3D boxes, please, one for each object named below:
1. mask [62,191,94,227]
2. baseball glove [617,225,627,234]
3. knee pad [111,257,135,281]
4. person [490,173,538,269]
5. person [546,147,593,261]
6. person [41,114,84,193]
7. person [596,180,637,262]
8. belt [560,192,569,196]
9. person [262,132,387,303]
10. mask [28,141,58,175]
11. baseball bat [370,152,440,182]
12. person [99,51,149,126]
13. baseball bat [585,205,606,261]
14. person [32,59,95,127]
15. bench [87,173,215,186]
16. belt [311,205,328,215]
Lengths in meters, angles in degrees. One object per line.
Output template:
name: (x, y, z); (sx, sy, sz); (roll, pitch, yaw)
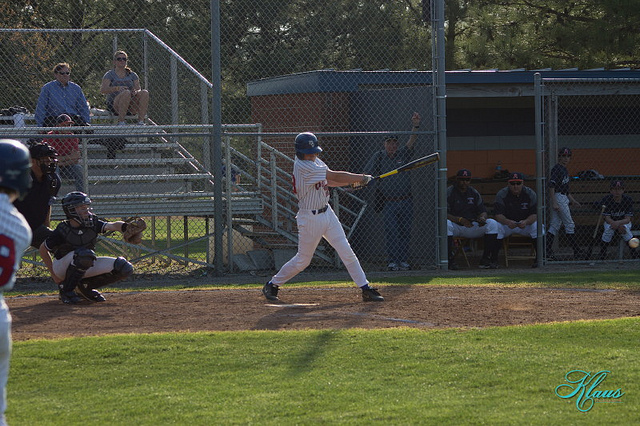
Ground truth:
mask: (-3.734, -0.067, 16.450); (0.456, 0.495, 0.569); (-7, 2, -39)
baseball glove: (5.715, 0.318, 20.328); (0.156, 0.167, 0.290); (0, 0, -11)
knee pad: (-3.131, 0.878, 16.717); (0.383, 0.182, 0.291); (-11, -17, 37)
person: (3.612, 0.141, 20.056); (0.854, 1.723, 0.385); (0, 0, 6)
person: (4.808, -0.169, 20.774); (0.797, 2.158, 1.428); (0, 0, 13)
person: (-4.706, -1.310, 18.896); (0.625, 0.979, 0.615); (-15, 25, -4)
person: (5.655, 0.136, 20.414); (0.650, 1.498, 0.588); (0, 0, 32)
belt: (4.675, -0.375, 20.409); (0.205, 0.048, 0.049); (0, 0, -29)
person: (-0.021, 0.091, 16.517); (1.703, 2.646, 0.511); (0, 0, -4)
mask: (-4.323, -0.837, 16.927); (0.526, 0.473, 0.444); (-5, -11, 44)
baseball bat: (1.505, -0.824, 19.239); (1.280, 0.130, 0.137); (-23, -19, -1)
person: (-3.738, -2.381, 20.376); (0.884, 1.461, 0.760); (0, 0, -10)
baseball bat: (5.395, 0.386, 20.964); (0.168, 1.081, 0.153); (19, 10, 19)
person: (-4.714, -2.165, 19.514); (0.962, 1.153, 0.394); (0, 0, -14)
bench: (-3.144, -0.626, 19.827); (2.280, 0.253, 1.131); (0, 0, -10)
belt: (0.011, -0.047, 16.393); (0.157, 0.051, 0.144); (-24, -3, -34)
